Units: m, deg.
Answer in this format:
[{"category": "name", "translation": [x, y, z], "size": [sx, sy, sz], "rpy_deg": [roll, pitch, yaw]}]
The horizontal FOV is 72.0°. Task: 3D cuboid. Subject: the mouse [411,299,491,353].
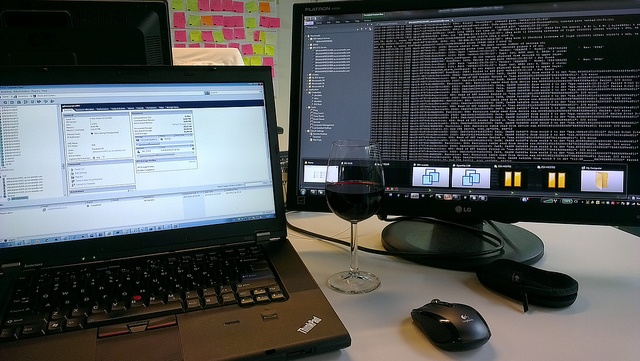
[{"category": "mouse", "translation": [0.305, 0.330, 1.015], "size": [0.100, 0.044, 0.151], "rpy_deg": [-6, 16, -26]}]
